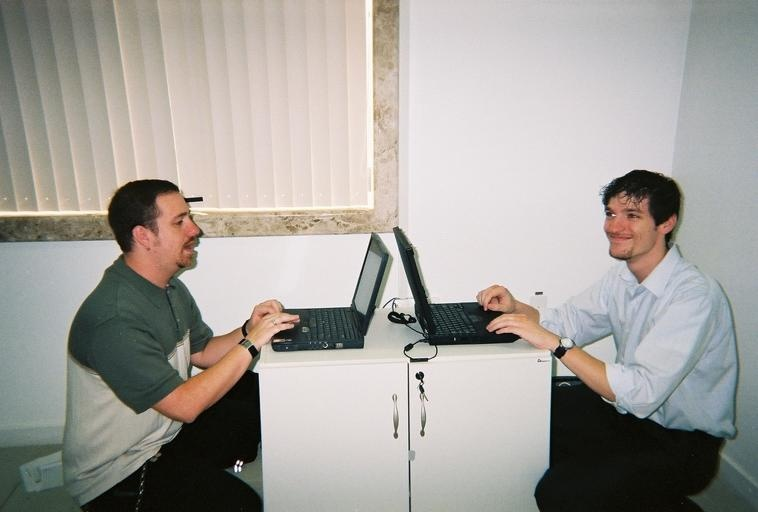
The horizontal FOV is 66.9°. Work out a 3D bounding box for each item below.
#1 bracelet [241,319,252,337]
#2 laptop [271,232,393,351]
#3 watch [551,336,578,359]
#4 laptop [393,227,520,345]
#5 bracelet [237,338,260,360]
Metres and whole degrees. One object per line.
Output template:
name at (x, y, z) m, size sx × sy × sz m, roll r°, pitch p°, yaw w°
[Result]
bracelet at (-0.699, 0.372, 3.034) m, size 0.060 × 0.031 × 0.080 m, roll -1°, pitch 21°, yaw 3°
laptop at (-0.222, 0.176, 2.867) m, size 0.563 × 0.426 × 0.562 m, roll 0°, pitch 13°, yaw -4°
watch at (0.859, 0.423, 2.732) m, size 0.112 × 0.106 × 0.070 m, roll -18°, pitch 53°, yaw -23°
laptop at (0.357, 0.140, 2.945) m, size 0.579 × 0.444 × 0.642 m, roll 2°, pitch 10°, yaw -2°
bracelet at (-0.614, 0.430, 2.690) m, size 0.062 × 0.102 × 0.102 m, roll -33°, pitch 0°, yaw -17°
